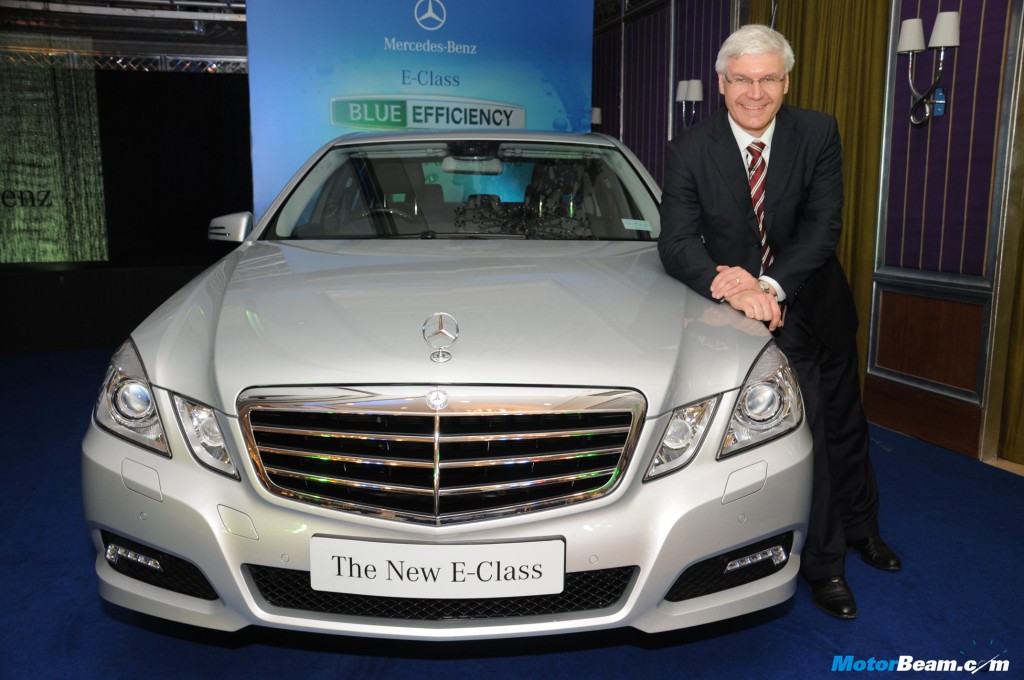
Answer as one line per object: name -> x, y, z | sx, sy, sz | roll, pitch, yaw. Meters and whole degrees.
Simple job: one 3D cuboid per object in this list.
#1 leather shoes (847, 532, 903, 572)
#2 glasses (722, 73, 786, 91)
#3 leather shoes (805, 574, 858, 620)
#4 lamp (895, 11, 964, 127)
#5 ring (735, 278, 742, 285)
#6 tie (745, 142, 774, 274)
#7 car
leather shoes -> 1.382, 0.813, 2.623 | 0.092, 0.090, 0.220 | -6, 5, -15
glasses -> 0.790, -0.844, 2.219 | 0.185, 0.049, 0.056 | 3, 15, 12
leather shoes -> 1.093, 0.871, 2.314 | 0.078, 0.079, 0.182 | -2, 4, 0
lamp -> 2.399, -1.570, 3.963 | 0.284, 0.614, 0.415 | -10, 17, -33
ring -> 0.705, -0.184, 2.110 | 0.016, 0.016, 0.004 | 4, -15, -3
tie -> 0.840, -0.498, 2.328 | 0.057, 0.554, 0.059 | -2, 6, 15
car -> -0.169, -0.057, 2.403 | 2.047, 1.353, 1.671 | 0, 14, 1
